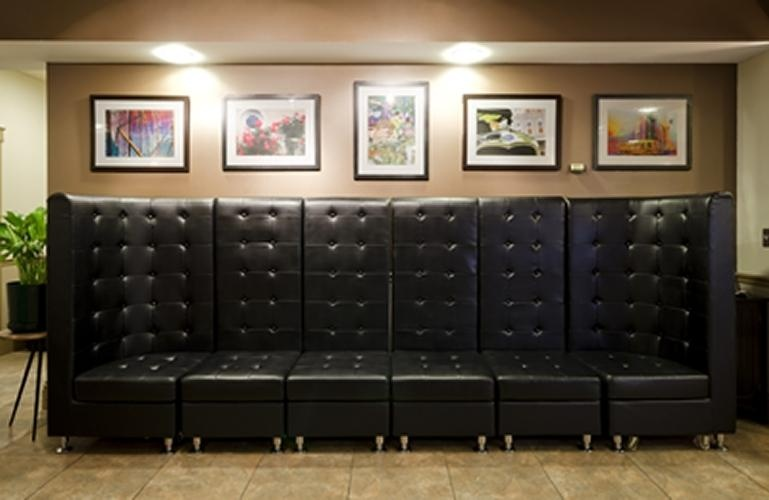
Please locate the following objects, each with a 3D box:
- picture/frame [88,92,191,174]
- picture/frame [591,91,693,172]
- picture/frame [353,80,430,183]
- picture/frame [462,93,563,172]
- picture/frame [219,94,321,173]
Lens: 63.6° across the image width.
[{"bbox_3d":[-2.345,-1.134,5.913,0.827,0.630,0.066,0,-2,-1],"label":"picture/frame"},{"bbox_3d":[2.446,-1.135,5.902,0.828,0.595,0.036,0,-3,-3],"label":"picture/frame"},{"bbox_3d":[0.065,-1.178,5.891,1.022,1.117,0.058,0,1,0],"label":"picture/frame"},{"bbox_3d":[1.213,-1.135,5.889,0.790,0.562,0.030,0,-2,-3],"label":"picture/frame"},{"bbox_3d":[-1.092,-1.140,5.902,0.792,0.598,0.058,0,-3,-1],"label":"picture/frame"}]
